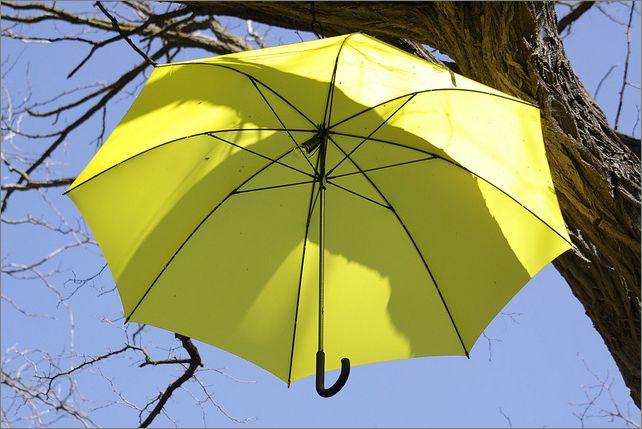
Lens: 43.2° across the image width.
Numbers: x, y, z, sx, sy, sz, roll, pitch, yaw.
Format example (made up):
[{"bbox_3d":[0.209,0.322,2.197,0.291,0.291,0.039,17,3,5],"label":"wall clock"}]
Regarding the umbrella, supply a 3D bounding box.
[{"bbox_3d":[-0.020,0.097,5.903,3.269,1.601,2.331,1,-61,4],"label":"umbrella"}]
